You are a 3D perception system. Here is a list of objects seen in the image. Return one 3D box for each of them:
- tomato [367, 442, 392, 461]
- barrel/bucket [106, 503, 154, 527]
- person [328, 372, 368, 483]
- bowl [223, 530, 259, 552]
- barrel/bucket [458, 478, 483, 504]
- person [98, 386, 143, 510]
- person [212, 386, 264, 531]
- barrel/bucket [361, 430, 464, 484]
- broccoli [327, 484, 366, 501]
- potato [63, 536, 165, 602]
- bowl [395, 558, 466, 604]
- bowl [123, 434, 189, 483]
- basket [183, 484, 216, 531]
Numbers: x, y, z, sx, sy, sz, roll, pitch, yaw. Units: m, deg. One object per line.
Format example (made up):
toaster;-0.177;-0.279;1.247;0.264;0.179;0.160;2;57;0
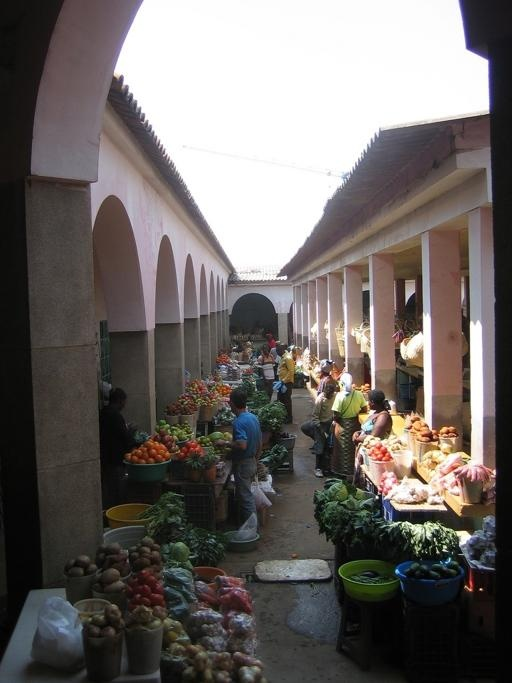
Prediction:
tomato;1.419;1.269;5.983;0.184;0.114;0.326;11;7;6
barrel/bucket;-1.245;1.705;5.187;0.335;0.133;0.341;0;2;0
person;1.470;1.432;8.676;0.530;1.510;0.784;1;8;1
bowl;-0.162;2.366;6.244;0.392;0.208;0.312;-2;0;-4
barrel/bucket;1.818;1.261;4.529;0.202;0.225;0.197;1;4;0
person;-1.657;1.293;6.439;0.424;1.292;0.599;1;10;-6
person;-0.191;1.439;6.625;0.551;1.545;0.617;3;8;-14
barrel/bucket;1.794;1.219;5.888;0.772;0.574;0.992;0;6;-13
broccoli;0.855;1.452;5.030;0.266;0.133;0.274;1;-7;-6
potato;-0.817;1.277;3.030;0.256;0.187;0.381;0;-6;6
bowl;1.260;1.648;3.821;0.449;0.278;0.445;-1;5;0
bowl;-1.228;1.365;6.102;0.496;0.373;0.463;1;1;0
basket;-0.649;1.931;6.324;0.411;0.767;0.558;0;5;-4
